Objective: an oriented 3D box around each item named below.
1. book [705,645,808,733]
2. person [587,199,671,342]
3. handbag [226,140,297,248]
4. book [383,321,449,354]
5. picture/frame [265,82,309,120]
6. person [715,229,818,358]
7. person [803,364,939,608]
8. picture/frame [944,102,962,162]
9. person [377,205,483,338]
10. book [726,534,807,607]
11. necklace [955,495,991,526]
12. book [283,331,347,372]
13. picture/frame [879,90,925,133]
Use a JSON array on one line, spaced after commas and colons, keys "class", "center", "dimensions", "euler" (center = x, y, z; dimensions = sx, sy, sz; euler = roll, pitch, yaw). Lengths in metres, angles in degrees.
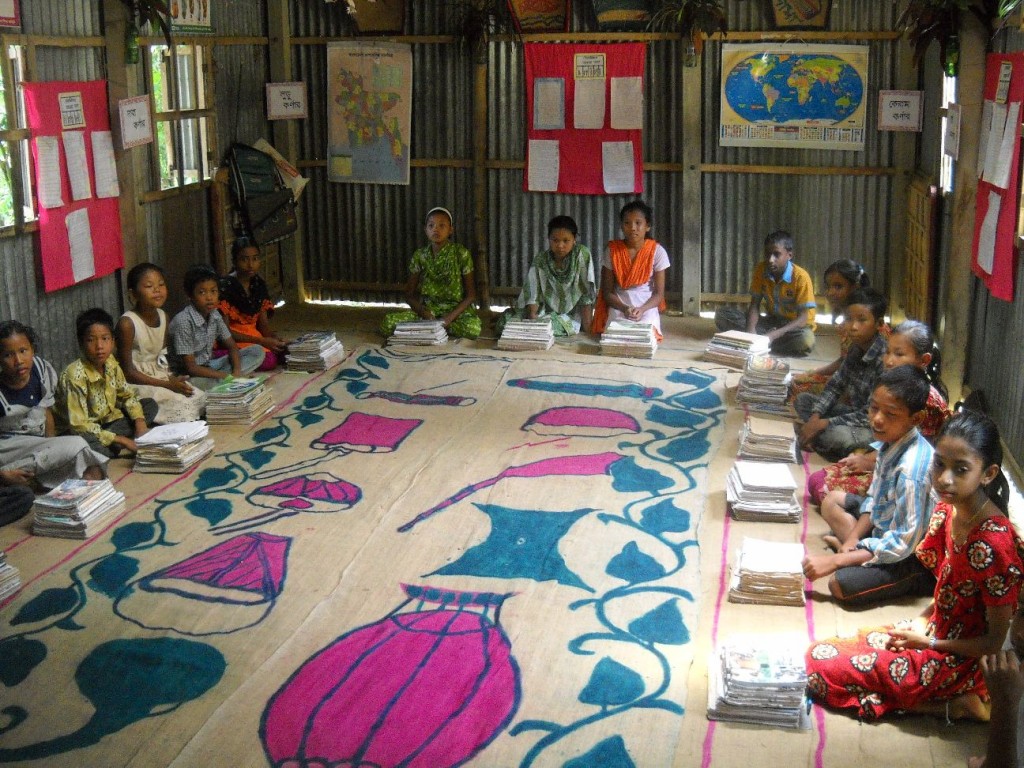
[{"class": "book", "center": [0.969, 1.214, 2.896], "dimensions": [0.312, 0.103, 0.304], "euler": [3, 26, 13]}, {"class": "person", "center": [1.246, -1.220, 7.791], "dimensions": [0.826, 1.443, 0.791], "euler": [0, 14, 6]}, {"class": "handbag", "center": [-2.892, -2.198, 8.337], "dimensions": [0.839, 1.127, 0.477], "euler": [-26, 11, -41]}, {"class": "book", "center": [-1.009, -0.524, 7.725], "dimensions": [0.665, 0.279, 0.277], "euler": [-4, 14, -8]}, {"class": "picture/frame", "center": [-2.701, -3.393, 8.635], "dimensions": [0.584, 0.541, 0.189], "euler": [-1, 14, -10]}, {"class": "person", "center": [2.677, -0.967, 7.521], "dimensions": [0.962, 1.205, 1.103], "euler": [-21, 28, -32]}, {"class": "person", "center": [1.928, 0.572, 3.894], "dimensions": [0.755, 1.091, 0.884], "euler": [-1, 27, 5]}, {"class": "picture/frame", "center": [3.373, -1.953, 5.576], "dimensions": [0.074, 0.439, 0.644], "euler": [5, 15, 27]}, {"class": "person", "center": [-0.796, -1.259, 7.998], "dimensions": [1.158, 1.364, 0.907], "euler": [5, 19, 18]}, {"class": "book", "center": [1.315, 0.953, 3.737], "dimensions": [0.362, 0.243, 0.382], "euler": [3, 14, 22]}, {"class": "necklace", "center": [1.720, 0.486, 2.776], "dimensions": [0.099, 0.126, 0.096], "euler": [-3, 58, -6]}, {"class": "book", "center": [-1.969, -0.325, 7.159], "dimensions": [0.484, 0.157, 0.377], "euler": [-4, 16, -5]}, {"class": "picture/frame", "center": [4.055, -2.870, 7.576], "dimensions": [0.474, 0.396, 0.198], "euler": [0, 14, 8]}]
